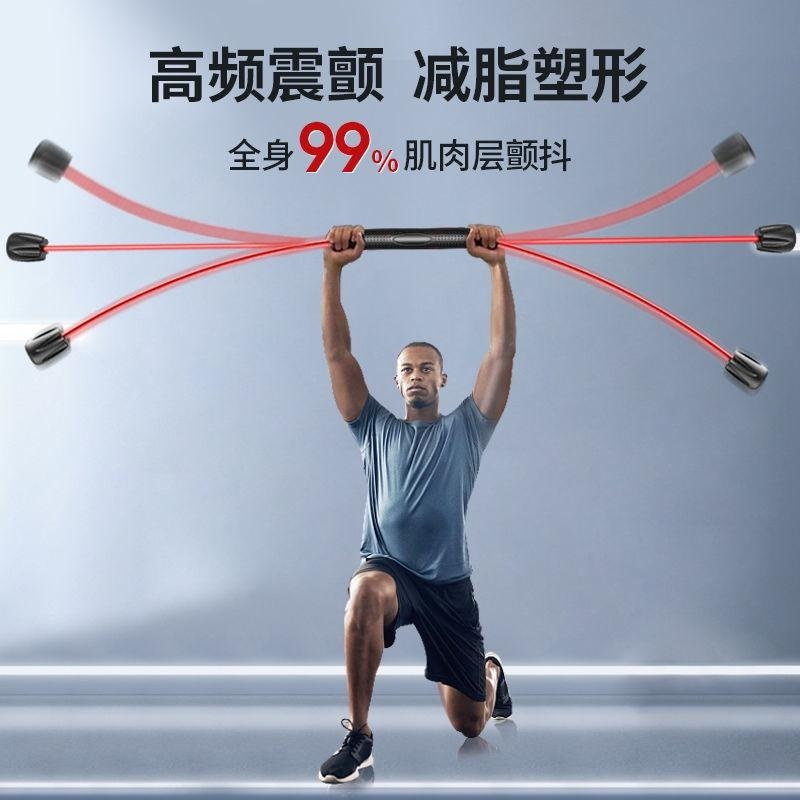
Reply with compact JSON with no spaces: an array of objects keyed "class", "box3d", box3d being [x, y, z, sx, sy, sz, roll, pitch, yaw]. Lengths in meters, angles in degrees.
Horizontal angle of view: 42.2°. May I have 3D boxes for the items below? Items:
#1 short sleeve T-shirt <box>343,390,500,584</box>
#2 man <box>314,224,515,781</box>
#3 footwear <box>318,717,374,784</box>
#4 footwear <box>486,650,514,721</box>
[{"class":"short sleeve T-shirt","box3d":[0.070,0.297,3.559,0.458,0.179,0.629,2,-97,9]},{"class":"man","box3d":[0.059,0.413,3.550,1.034,0.506,2.398,0,-86,6]},{"class":"footwear","box3d":[-0.174,1.126,3.377,0.144,0.151,0.238,-3,-78,-26]},{"class":"footwear","box3d":[0.382,1.082,3.885,0.072,0.101,0.293,-3,-79,-3]}]
